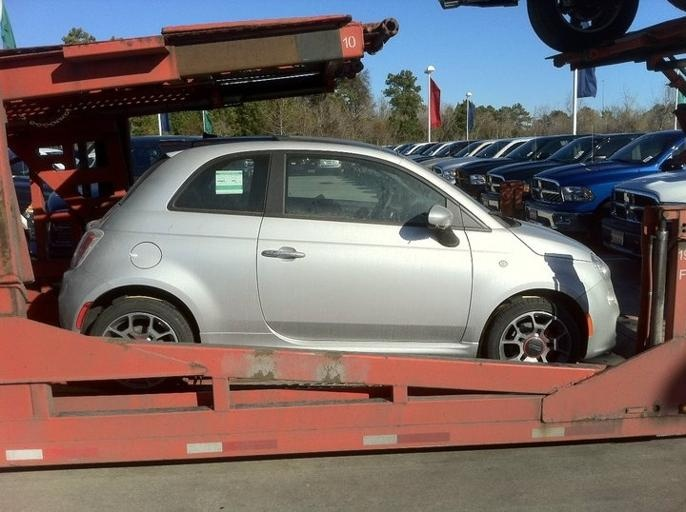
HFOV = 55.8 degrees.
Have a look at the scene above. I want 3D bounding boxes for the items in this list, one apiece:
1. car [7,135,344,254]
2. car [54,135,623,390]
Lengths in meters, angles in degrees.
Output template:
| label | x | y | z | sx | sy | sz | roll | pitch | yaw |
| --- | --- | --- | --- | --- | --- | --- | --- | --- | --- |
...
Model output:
| label | x | y | z | sx | sy | sz | roll | pitch | yaw |
| --- | --- | --- | --- | --- | --- | --- | --- | --- | --- |
| car | -1.482 | -0.540 | 5.655 | 1.576 | 0.941 | 0.934 | -10 | 16 | -15 |
| car | -0.152 | -0.083 | 5.782 | 3.606 | 1.705 | 2.101 | -2 | 4 | -5 |
